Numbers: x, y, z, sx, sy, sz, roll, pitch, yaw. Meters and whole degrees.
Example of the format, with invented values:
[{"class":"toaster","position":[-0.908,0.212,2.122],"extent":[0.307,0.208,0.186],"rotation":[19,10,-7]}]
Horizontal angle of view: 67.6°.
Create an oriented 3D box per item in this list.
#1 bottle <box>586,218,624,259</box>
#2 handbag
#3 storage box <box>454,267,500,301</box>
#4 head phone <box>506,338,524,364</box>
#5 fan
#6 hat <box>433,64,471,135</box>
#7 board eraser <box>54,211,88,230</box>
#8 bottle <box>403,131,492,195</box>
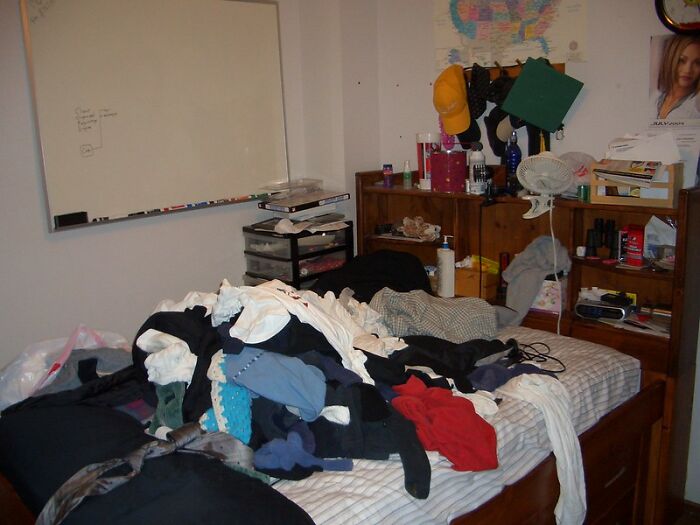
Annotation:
[{"class":"bottle","position":[1.386,-0.135,2.885],"extent":[0.184,0.219,0.078],"rotation":[4,-1,12]},{"class":"handbag","position":[1.069,-0.918,3.002],"extent":[0.449,0.406,0.103],"rotation":[34,20,12]},{"class":"storage box","position":[0.774,0.131,3.231],"extent":[0.210,0.128,0.211],"rotation":[5,6,35]},{"class":"head phone","position":[0.766,0.404,2.406],"extent":[0.087,0.093,0.090],"rotation":[-2,8,39]},{"class":"fan","position":[1.072,-0.433,2.898],"extent":[0.292,0.348,0.156],"rotation":[6,16,42]},{"class":"hat","position":[0.627,-1.015,3.264],"extent":[0.212,0.407,0.084],"rotation":[-2,12,10]},{"class":"board eraser","position":[-1.578,-0.242,2.951],"extent":[0.174,0.088,0.028],"rotation":[-9,13,-25]},{"class":"bottle","position":[0.639,-0.609,3.313],"extent":[0.351,0.410,0.498],"rotation":[-11,17,-42]}]
